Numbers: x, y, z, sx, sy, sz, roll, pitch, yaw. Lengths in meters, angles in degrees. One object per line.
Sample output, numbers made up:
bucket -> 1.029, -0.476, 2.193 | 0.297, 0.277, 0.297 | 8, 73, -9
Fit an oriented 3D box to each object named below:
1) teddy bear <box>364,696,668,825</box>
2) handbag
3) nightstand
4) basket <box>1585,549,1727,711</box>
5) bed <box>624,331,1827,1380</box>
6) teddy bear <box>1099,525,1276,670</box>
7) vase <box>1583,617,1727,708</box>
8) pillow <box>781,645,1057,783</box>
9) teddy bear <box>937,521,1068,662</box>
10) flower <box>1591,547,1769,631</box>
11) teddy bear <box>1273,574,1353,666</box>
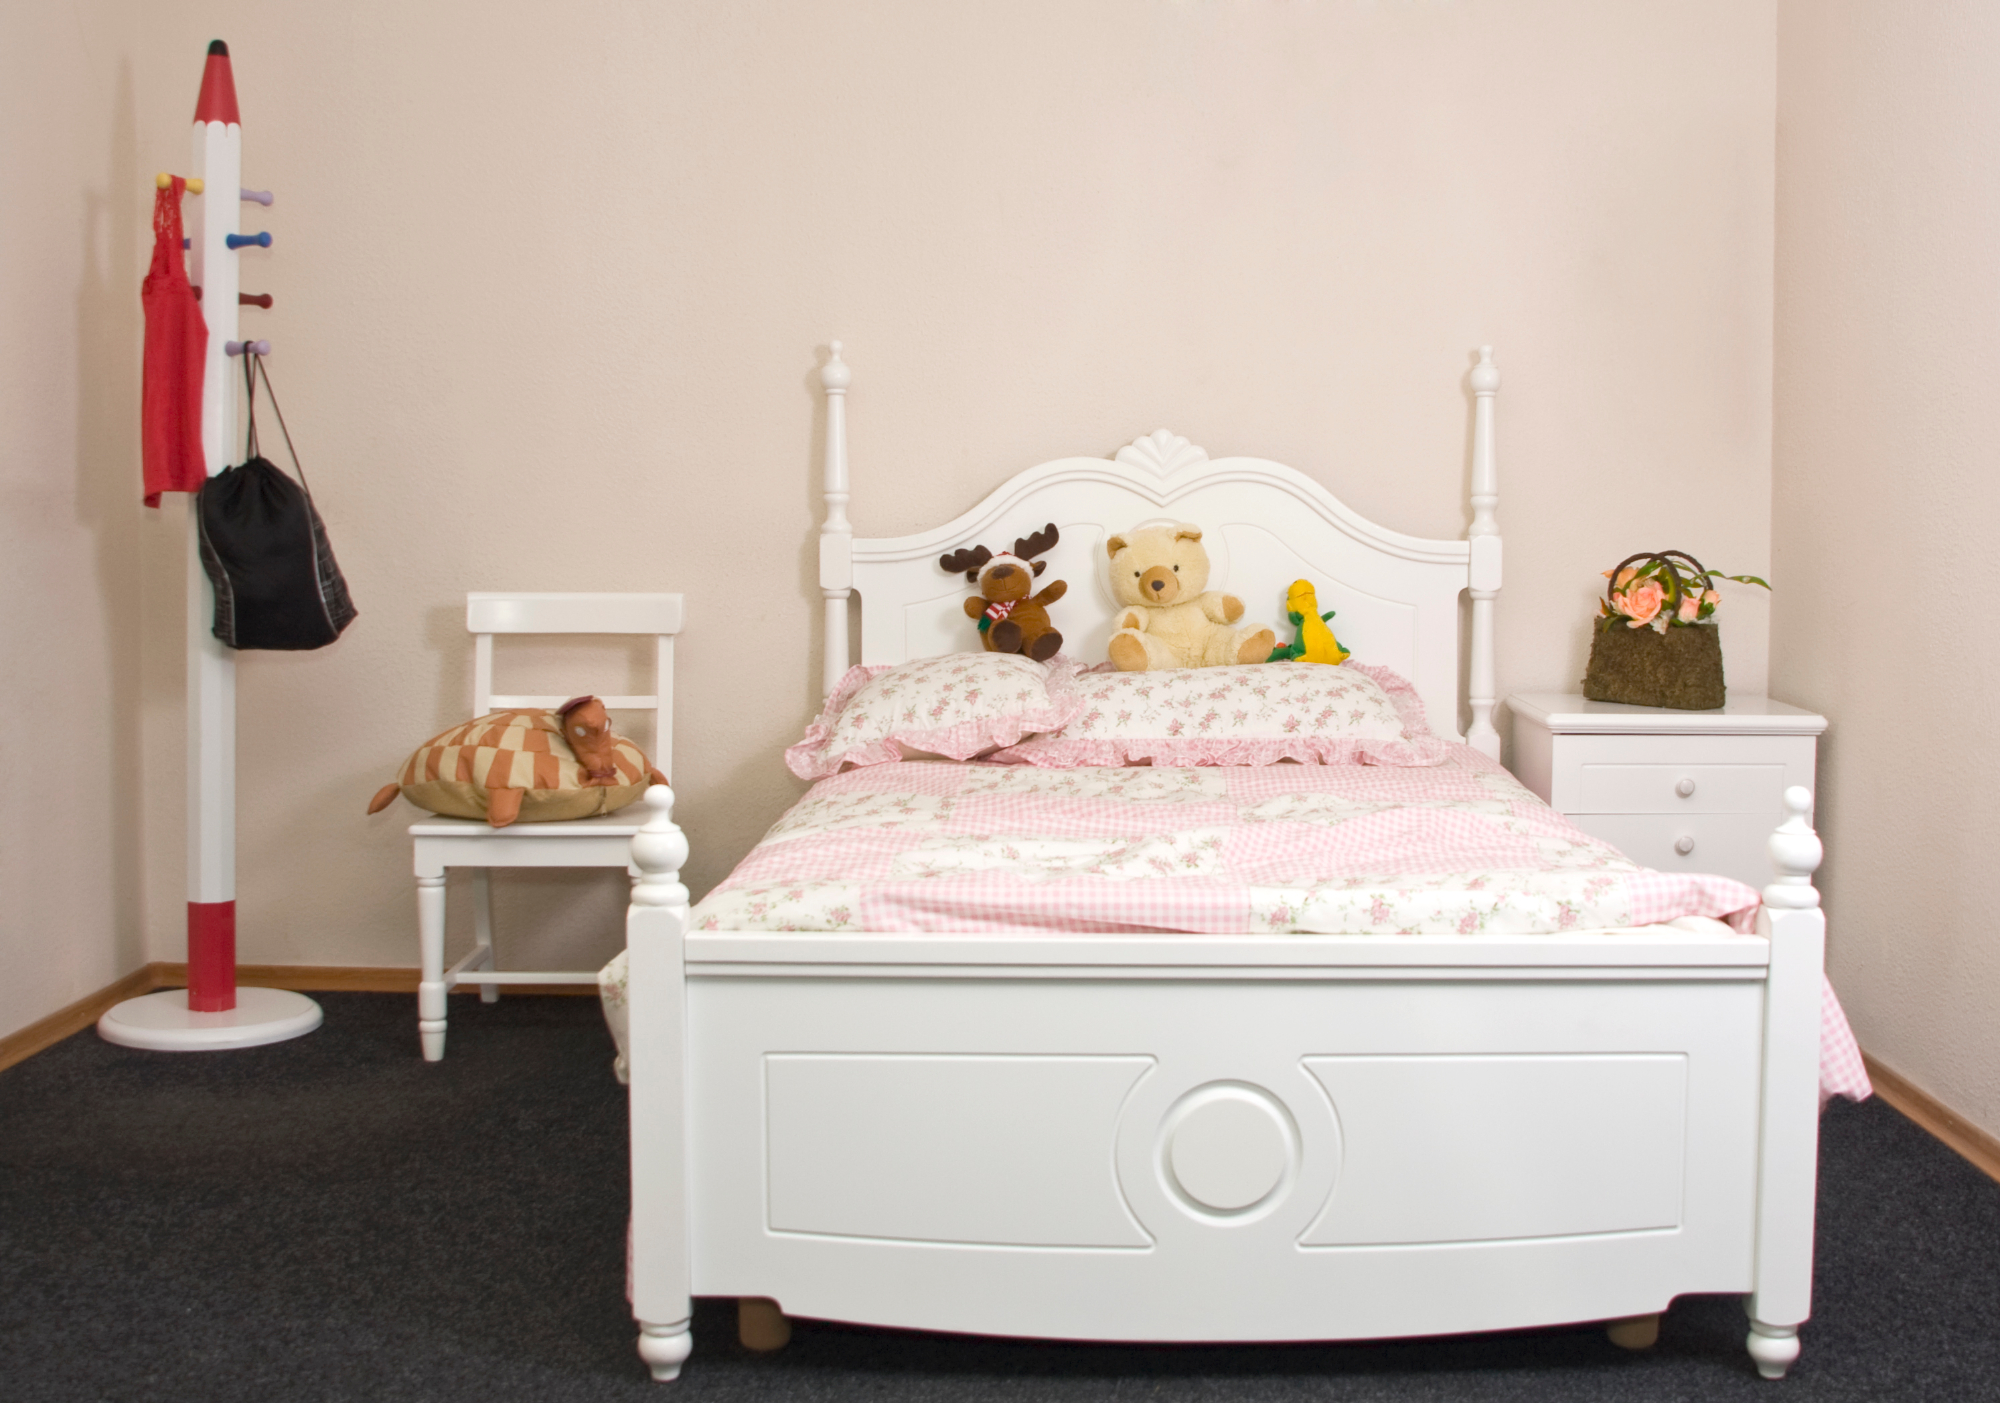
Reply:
teddy bear -> -1.178, 0.162, 4.167 | 0.425, 0.197, 0.428 | 1, 2, 23
handbag -> -1.829, -0.368, 4.239 | 0.421, 0.537, 0.307 | -2, 17, -3
nightstand -> 1.670, 0.203, 4.284 | 0.597, 0.611, 0.430 | 0, 0, 0
basket -> 1.694, -0.173, 4.368 | 0.366, 0.449, 0.253 | 2, 9, 13
bed -> 0.626, 0.134, 3.813 | 2.795, 1.894, 2.169 | -1, 8, -8
teddy bear -> 0.456, -0.354, 4.516 | 0.443, 0.442, 0.367 | -6, 9, -13
vase -> 1.680, -0.089, 4.337 | 0.258, 0.167, 0.261 | 0, 3, 6
pillow -> -0.168, 0.032, 4.091 | 0.446, 0.122, 0.422 | -5, 29, 6
teddy bear -> -0.004, -0.297, 4.503 | 0.307, 0.414, 0.161 | -3, -20, -4
flower -> 1.765, -0.274, 4.395 | 0.365, 0.187, 0.241 | 0, 0, 5
teddy bear -> 0.792, -0.213, 4.448 | 0.247, 0.267, 0.161 | 4, 2, -5
